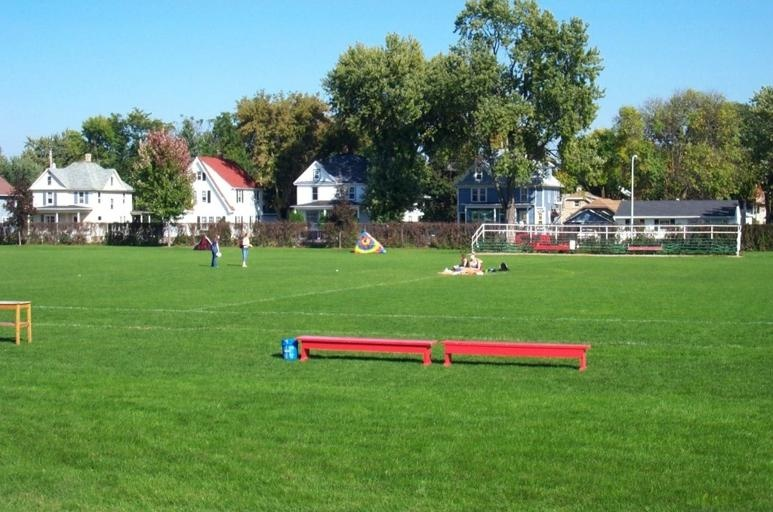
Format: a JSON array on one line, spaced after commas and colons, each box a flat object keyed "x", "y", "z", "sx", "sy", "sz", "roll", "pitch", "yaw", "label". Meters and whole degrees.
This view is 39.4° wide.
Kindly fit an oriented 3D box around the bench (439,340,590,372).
[{"x": 3.722, "y": 2.819, "z": 31.213, "sx": 4.120, "sy": 0.793, "sz": 1.742, "roll": 2, "pitch": 0, "yaw": 6, "label": "bench"}]

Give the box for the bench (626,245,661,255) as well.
[{"x": 18.294, "y": -0.445, "z": 76.414, "sx": 2.344, "sy": 0.590, "sz": 1.399, "roll": 2, "pitch": 0, "yaw": 14, "label": "bench"}]

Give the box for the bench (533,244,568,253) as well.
[{"x": 12.088, "y": -0.570, "z": 78.947, "sx": 2.535, "sy": 0.556, "sz": 0.703, "roll": 2, "pitch": 0, "yaw": 10, "label": "bench"}]

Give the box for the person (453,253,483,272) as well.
[{"x": 4.258, "y": 0.254, "z": 52.890, "sx": 1.416, "sy": 0.729, "sz": 0.921, "roll": 3, "pitch": -5, "yaw": -23, "label": "person"}]
